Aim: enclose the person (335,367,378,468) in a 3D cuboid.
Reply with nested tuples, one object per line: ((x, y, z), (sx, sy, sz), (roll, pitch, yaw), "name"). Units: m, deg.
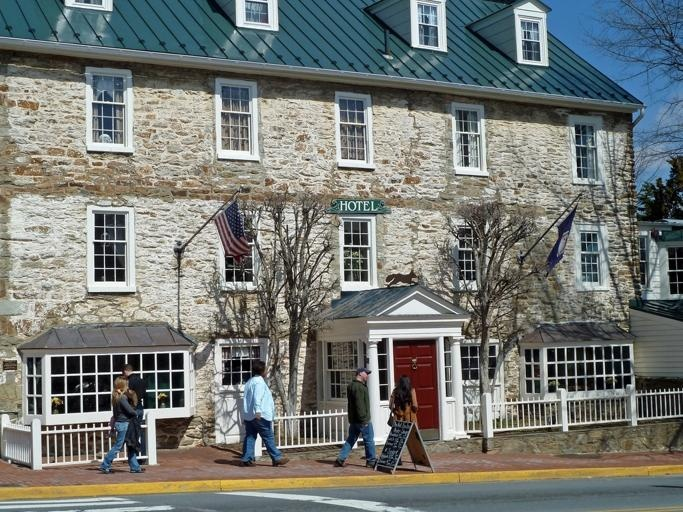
((0.332, 3.919, 27.471), (0.841, 2.397, 0.664), (-4, -6, 15), "person")

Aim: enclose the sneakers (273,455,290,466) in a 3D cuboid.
((-1.485, 4.963, 27.478), (0.367, 0.148, 0.177), (-3, 4, -7), "sneakers")

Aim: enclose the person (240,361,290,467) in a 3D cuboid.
((-1.958, 3.787, 27.177), (0.999, 2.527, 1.076), (-2, -6, -4), "person")

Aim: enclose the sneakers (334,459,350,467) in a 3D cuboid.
((-0.068, 5.025, 27.715), (0.153, 0.111, 0.349), (-8, 7, -16), "sneakers")

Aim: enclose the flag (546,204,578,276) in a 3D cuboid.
((6.721, -0.588, 34.988), (1.015, 2.147, 2.428), (-3, -5, 10), "flag")

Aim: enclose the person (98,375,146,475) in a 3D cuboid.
((-5.133, 3.934, 26.550), (0.887, 2.219, 0.625), (-2, -6, -3), "person")

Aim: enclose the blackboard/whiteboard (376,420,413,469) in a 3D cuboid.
((1.252, 4.499, 26.966), (0.591, 1.166, 0.874), (1, -6, -28), "blackboard/whiteboard")

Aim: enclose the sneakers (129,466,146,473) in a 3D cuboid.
((-4.754, 4.969, 26.517), (0.275, 0.103, 0.136), (0, 1, -33), "sneakers")

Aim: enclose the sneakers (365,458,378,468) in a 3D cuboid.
((0.708, 5.015, 27.505), (0.249, 0.224, 0.149), (-5, -9, 12), "sneakers")

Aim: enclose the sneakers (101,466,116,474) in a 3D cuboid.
((-5.384, 4.938, 26.248), (0.323, 0.128, 0.118), (5, 5, -7), "sneakers")

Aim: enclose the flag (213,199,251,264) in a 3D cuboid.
((-2.896, -0.698, 30.375), (0.453, 1.573, 1.171), (1, -6, -29), "flag")

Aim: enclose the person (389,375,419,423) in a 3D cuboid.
((1.438, 3.428, 27.347), (0.657, 1.125, 0.570), (-3, -6, 5), "person")
